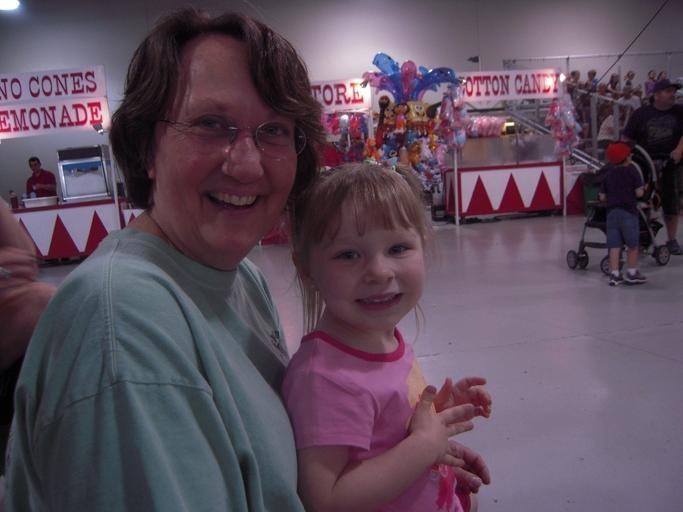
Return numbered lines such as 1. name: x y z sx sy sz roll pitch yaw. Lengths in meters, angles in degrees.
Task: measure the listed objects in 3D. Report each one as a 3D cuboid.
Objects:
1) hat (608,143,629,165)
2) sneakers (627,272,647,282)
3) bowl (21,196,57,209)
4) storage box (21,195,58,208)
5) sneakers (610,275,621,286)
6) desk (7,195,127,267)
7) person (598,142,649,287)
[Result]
1. hat: 2.739 -0.997 4.645 0.150 0.139 0.265 13 28 26
2. sneakers: 2.774 0.212 4.420 0.191 0.120 0.088 -2 7 -29
3. bowl: -4.996 -0.868 7.764 0.352 0.165 0.306 -3 2 -3
4. storage box: -4.994 -0.871 7.767 0.354 0.163 0.305 -4 3 -13
5. sneakers: 2.599 0.242 4.463 0.062 0.091 0.196 -4 -6 27
6. desk: -4.708 -0.454 7.959 1.072 0.679 0.687 -3 13 7
7. person: 2.764 -0.434 4.606 0.410 1.311 0.896 3 11 30
